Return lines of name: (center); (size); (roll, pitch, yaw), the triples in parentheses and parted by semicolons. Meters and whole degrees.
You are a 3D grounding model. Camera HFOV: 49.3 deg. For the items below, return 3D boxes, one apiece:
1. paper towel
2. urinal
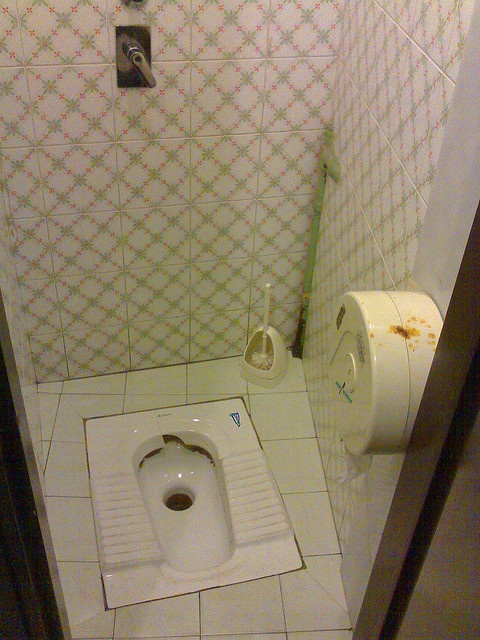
paper towel: (0.308, 0.145, 1.187); (0.129, 0.456, 0.291); (-3, 13, -8)
urinal: (-0.238, 0.761, 2.167); (0.719, 0.351, 0.923); (-5, 36, -24)
